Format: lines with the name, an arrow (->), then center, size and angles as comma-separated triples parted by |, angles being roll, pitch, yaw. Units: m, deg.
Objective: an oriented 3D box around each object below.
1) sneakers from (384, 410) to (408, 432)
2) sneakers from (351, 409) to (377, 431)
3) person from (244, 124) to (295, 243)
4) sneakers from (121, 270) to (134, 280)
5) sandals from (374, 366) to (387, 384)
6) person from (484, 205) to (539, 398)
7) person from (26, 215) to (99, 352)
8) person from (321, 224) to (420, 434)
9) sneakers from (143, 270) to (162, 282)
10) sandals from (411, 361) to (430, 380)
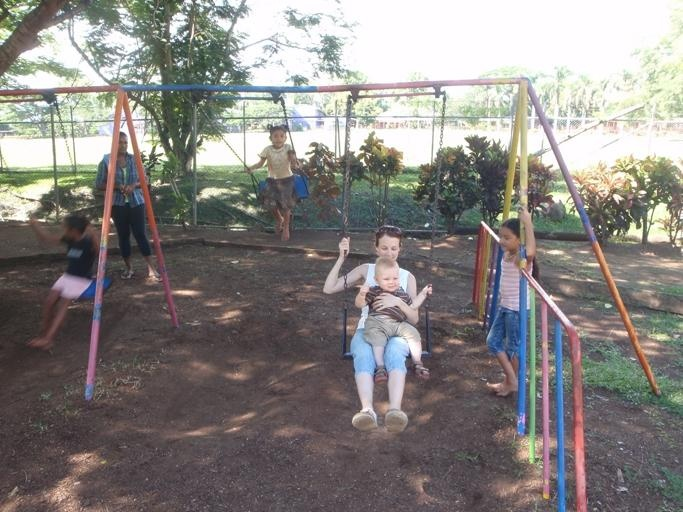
sneakers -> 0.402, 1.239, 4.152 | 0.143, 0.237, 0.129 | 8, 14, 42
sneakers -> 0.175, 1.232, 4.150 | 0.156, 0.218, 0.164 | 1, 11, 10
person -> -1.152, -1.284, 10.069 | 0.733, 2.083, 1.384 | -2, 11, -4
sneakers -> -2.941, 0.254, 7.723 | 0.079, 0.105, 0.247 | 1, -8, 3
sandals -> 0.309, 0.940, 4.432 | 0.106, 0.102, 0.115 | 0, 10, 5
person -> 1.468, 0.403, 4.857 | 0.379, 1.667, 0.649 | 4, 12, 25
person -> -3.001, 0.188, 6.055 | 0.722, 1.272, 1.217 | -6, 11, -24
person -> 0.265, 0.556, 4.727 | 0.738, 0.734, 1.779 | -1, 37, 4
sneakers -> -2.586, 0.286, 7.686 | 0.107, 0.121, 0.303 | -3, -4, -32
sandals -> 0.634, 0.921, 4.559 | 0.108, 0.151, 0.170 | -2, 10, -3
